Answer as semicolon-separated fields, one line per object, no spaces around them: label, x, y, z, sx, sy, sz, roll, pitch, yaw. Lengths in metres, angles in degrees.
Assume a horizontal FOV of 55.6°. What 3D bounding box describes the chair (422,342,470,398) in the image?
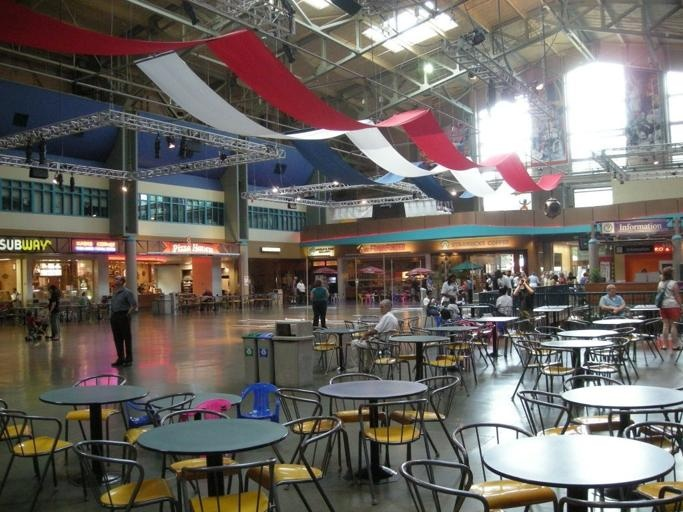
chair;1.679;1.780;10.571;0.611;0.729;0.672;1;1;36

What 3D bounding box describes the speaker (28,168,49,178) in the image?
speaker;-10.081;-2.770;21.529;0.545;0.438;0.871;0;-3;-27

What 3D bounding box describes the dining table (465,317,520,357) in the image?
dining table;2.939;1.552;12.921;1.047;0.860;0.993;0;-2;23

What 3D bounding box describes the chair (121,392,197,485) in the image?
chair;-2.334;2.192;7.921;0.871;0.895;0.829;2;3;-13

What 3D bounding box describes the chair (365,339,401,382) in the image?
chair;0.732;1.734;10.854;0.565;0.659;0.601;-2;2;-4

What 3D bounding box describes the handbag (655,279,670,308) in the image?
handbag;6.402;0.765;12.877;0.169;0.535;0.322;-1;-3;-10

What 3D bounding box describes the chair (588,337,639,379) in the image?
chair;4.112;1.728;9.998;0.683;0.614;0.610;-6;2;6

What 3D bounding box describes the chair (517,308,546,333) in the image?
chair;4.131;1.411;14.056;0.516;0.535;0.428;-2;10;-14

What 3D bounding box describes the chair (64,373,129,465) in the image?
chair;-3.127;2.002;8.235;0.876;0.843;0.886;1;-4;-38

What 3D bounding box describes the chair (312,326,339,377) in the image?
chair;-0.346;1.835;12.594;0.564;0.669;0.508;-5;-7;32

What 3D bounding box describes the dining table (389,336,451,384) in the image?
dining table;1.170;1.695;10.041;0.964;0.838;0.860;5;-6;-8

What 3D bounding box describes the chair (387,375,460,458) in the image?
chair;1.050;1.956;7.876;0.789;0.782;0.801;9;-14;-44

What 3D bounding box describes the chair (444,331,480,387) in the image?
chair;2.150;1.723;11.087;0.552;0.585;0.522;-23;0;-29

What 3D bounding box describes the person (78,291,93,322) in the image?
person;-10.056;2.077;25.425;0.437;0.876;0.682;0;-3;-21

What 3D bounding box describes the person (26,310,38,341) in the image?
person;-8.984;2.075;18.755;0.284;0.646;1.470;0;-3;-26

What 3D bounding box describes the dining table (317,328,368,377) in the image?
dining table;-0.034;1.806;12.516;0.905;0.725;0.839;-1;-2;14

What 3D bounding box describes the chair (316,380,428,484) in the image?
chair;0.559;2.126;7.514;1.335;0.914;1.356;7;-16;-43

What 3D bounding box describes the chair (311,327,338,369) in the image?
chair;-0.346;1.821;12.529;0.658;0.682;0.613;-2;-2;-19

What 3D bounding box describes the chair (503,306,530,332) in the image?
chair;4.008;1.424;14.433;0.803;0.642;0.566;-1;-6;12

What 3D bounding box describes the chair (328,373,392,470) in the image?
chair;0.172;1.961;8.041;0.813;0.846;0.692;11;-6;-23

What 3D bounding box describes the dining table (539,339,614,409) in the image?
dining table;3.425;1.632;9.360;0.900;0.541;0.843;-2;3;19

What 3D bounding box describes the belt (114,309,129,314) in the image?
belt;-4.444;1.141;13.108;0.267;0.085;0.073;0;-3;-25

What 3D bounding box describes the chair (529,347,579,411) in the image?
chair;3.338;1.768;9.900;0.651;0.674;0.555;-4;-3;1

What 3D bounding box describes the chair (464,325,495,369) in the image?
chair;2.729;1.849;12.790;0.720;0.740;0.632;6;-13;-10

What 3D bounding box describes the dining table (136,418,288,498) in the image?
dining table;-1.238;1.653;6.076;0.958;0.504;0.917;-1;3;-33

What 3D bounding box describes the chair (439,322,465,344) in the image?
chair;1.935;1.387;11.343;0.459;0.235;0.438;-3;5;-33

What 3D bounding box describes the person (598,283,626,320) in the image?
person;5.666;0.983;13.467;0.589;0.699;0.484;-4;2;-27

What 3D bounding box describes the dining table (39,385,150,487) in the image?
dining table;-2.781;1.828;7.477;0.853;0.607;0.820;-15;-25;32

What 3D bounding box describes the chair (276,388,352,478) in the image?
chair;-0.278;2.026;7.567;0.844;0.905;0.759;-4;-1;12

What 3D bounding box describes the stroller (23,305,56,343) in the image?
stroller;-8.883;1.951;19.112;0.846;0.801;0.607;-2;13;-8

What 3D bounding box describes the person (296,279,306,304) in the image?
person;-2.183;2.029;34.999;0.523;1.138;1.358;-1;-3;-4

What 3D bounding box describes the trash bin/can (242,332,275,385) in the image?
trash bin/can;-1.429;1.769;11.090;0.581;0.848;0.488;-2;-3;5

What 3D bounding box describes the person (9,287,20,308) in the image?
person;-12.781;1.609;25.310;0.331;0.695;1.506;0;-3;-26

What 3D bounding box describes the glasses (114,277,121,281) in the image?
glasses;-4.468;0.478;12.970;0.110;0.089;0.090;13;14;19

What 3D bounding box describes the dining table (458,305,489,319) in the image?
dining table;3.444;1.421;16.707;0.769;0.431;0.702;0;-2;-3

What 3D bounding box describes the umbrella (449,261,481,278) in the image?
umbrella;6.265;0.635;32.221;1.669;0.656;1.704;-11;11;-40

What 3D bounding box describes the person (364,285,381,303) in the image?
person;1.636;2.056;34.378;1.045;0.840;0.747;-1;-8;11

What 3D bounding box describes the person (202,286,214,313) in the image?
person;-6.467;2.135;31.393;0.633;0.932;1.852;-1;-3;-12

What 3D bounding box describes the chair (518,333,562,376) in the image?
chair;3.186;1.529;10.357;0.555;0.560;0.515;-11;16;-13

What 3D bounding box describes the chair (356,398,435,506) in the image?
chair;0.519;2.059;7.423;0.865;1.068;0.817;-4;13;-26

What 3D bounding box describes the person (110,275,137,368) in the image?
person;-4.526;1.344;13.458;0.471;1.811;1.215;-1;-3;-17

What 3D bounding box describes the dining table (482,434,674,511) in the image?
dining table;2.002;1.750;5.506;1.035;0.528;0.944;-1;0;-3

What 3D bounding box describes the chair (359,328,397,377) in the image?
chair;0.734;1.753;10.819;0.569;0.661;0.601;-7;-8;-10

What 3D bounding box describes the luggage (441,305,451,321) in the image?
luggage;2.228;1.238;13.797;0.060;0.216;0.237;-5;-9;-23
